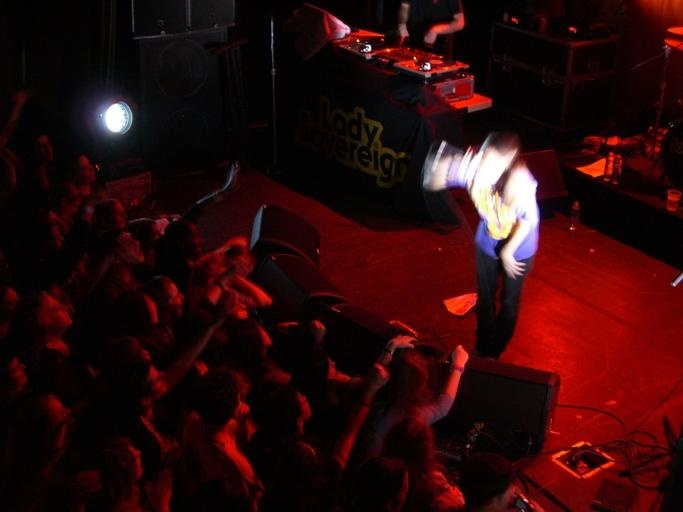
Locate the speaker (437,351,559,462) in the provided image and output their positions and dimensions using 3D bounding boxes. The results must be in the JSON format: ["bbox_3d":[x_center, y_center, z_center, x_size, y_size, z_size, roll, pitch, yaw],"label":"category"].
[{"bbox_3d":[0.930,0.943,3.162,0.498,0.500,0.311,12,33,19],"label":"speaker"}]

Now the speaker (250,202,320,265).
[{"bbox_3d":[-0.442,-0.154,4.111,0.475,0.259,0.348,27,46,-32],"label":"speaker"}]

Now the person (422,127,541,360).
[{"bbox_3d":[1.015,0.023,3.817,0.791,1.921,0.537,-3,32,3],"label":"person"}]

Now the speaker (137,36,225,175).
[{"bbox_3d":[-2.006,-2.013,6.545,1.088,1.627,1.126,4,23,8],"label":"speaker"}]
